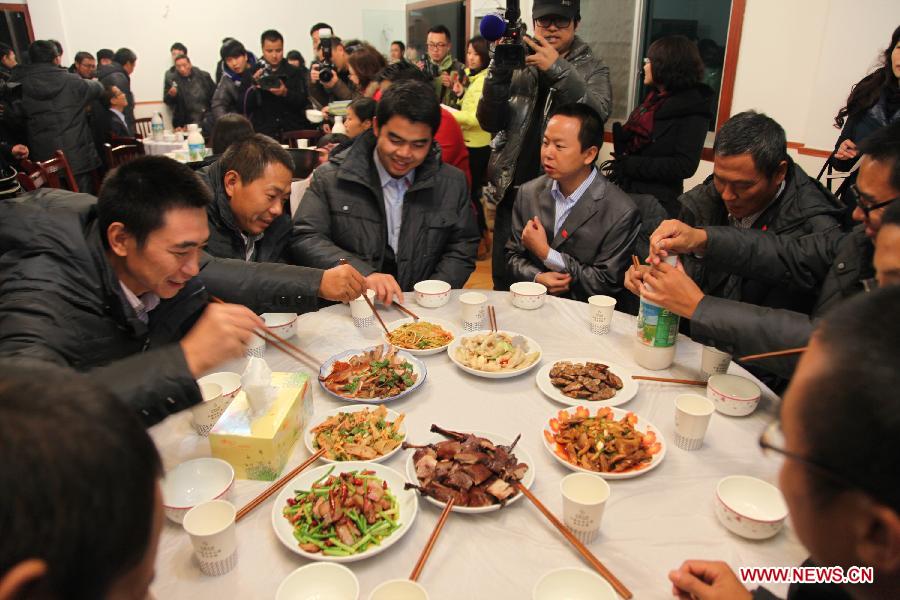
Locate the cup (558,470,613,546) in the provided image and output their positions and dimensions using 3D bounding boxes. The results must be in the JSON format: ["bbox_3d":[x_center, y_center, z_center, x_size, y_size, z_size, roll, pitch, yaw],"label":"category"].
[{"bbox_3d":[0.351,0.541,1.631,0.139,0.123,0.157,-2,24,-3],"label":"cup"}]

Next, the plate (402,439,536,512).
[{"bbox_3d":[0.051,0.498,1.719,0.215,0.053,0.218,2,25,-1],"label":"plate"}]

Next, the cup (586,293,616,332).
[{"bbox_3d":[0.620,0.053,2.531,0.135,0.141,0.124,-2,19,1],"label":"cup"}]

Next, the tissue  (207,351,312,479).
[{"bbox_3d":[-0.586,0.403,1.854,0.229,0.212,0.439,0,29,3],"label":"tissue "}]

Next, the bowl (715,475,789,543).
[{"bbox_3d":[0.815,0.553,1.640,0.181,0.081,0.174,0,30,0],"label":"bowl"}]

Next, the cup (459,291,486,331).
[{"bbox_3d":[0.103,0.049,2.573,0.131,0.126,0.130,1,35,-1],"label":"cup"}]

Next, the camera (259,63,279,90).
[{"bbox_3d":[-1.944,-2.378,6.450,0.292,0.308,0.189,-3,17,-17],"label":"camera"}]

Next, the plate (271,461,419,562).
[{"bbox_3d":[-0.282,0.555,1.637,0.386,0.094,0.304,-2,30,-4],"label":"plate"}]

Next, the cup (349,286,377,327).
[{"bbox_3d":[-0.360,0.022,2.570,0.126,0.103,0.128,-5,27,2],"label":"cup"}]

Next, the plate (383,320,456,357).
[{"bbox_3d":[-0.116,0.152,2.397,0.156,0.058,0.159,11,25,16],"label":"plate"}]

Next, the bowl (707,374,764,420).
[{"bbox_3d":[0.948,0.314,2.024,0.147,0.074,0.145,-2,33,1],"label":"bowl"}]

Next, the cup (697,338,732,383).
[{"bbox_3d":[0.948,0.219,2.228,0.111,0.119,0.112,1,23,0],"label":"cup"}]
